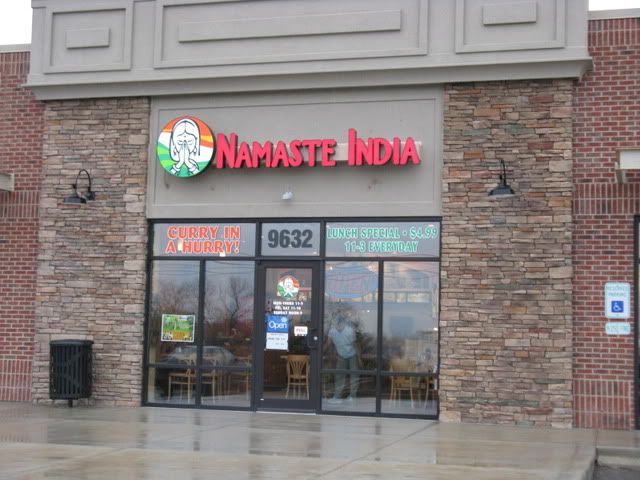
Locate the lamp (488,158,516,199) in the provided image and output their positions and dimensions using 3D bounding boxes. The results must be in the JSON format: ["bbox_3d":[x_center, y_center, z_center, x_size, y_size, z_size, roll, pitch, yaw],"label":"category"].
[{"bbox_3d":[3.707,-1.240,22.087,0.681,0.823,0.731,1,-4,6],"label":"lamp"}]

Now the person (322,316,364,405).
[{"bbox_3d":[0.495,2.510,22.960,0.633,1.752,0.358,1,6,0],"label":"person"}]

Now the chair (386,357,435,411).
[{"bbox_3d":[1.895,3.032,22.652,1.021,1.061,0.662,2,-1,11],"label":"chair"}]

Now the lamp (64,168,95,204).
[{"bbox_3d":[-5.324,-1.145,23.950,0.644,0.762,0.848,1,6,-2],"label":"lamp"}]

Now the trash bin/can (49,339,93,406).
[{"bbox_3d":[-5.367,2.793,23.351,0.878,1.225,0.468,-1,6,-16],"label":"trash bin/can"}]

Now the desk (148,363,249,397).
[{"bbox_3d":[-2.627,3.102,23.949,1.369,0.613,0.870,0,-3,10],"label":"desk"}]
